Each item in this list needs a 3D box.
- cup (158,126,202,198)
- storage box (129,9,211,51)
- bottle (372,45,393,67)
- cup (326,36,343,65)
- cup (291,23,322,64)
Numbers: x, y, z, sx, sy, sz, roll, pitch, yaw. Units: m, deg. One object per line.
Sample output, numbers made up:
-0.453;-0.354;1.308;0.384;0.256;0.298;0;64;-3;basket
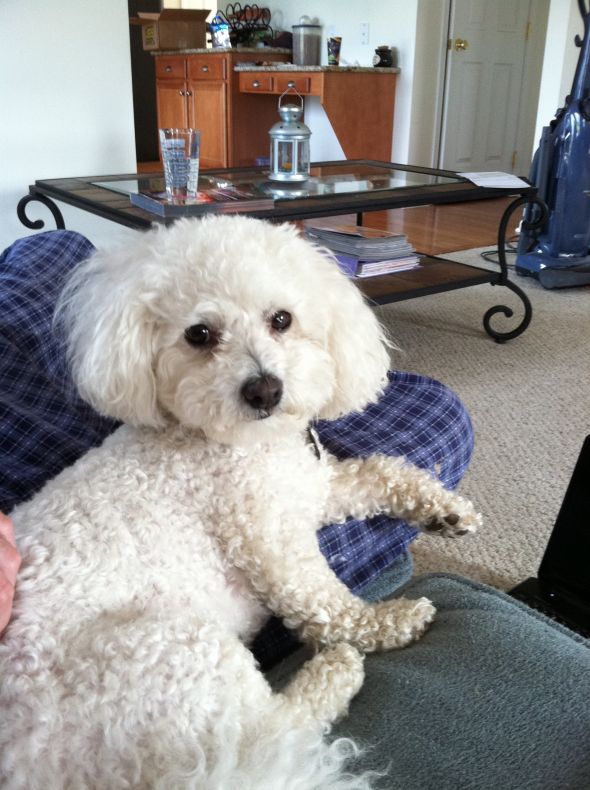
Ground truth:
-0.342;-0.688;2.012;0.111;0.184;0.374;-2;24;-9;cup
-1.130;-3.245;5.989;0.699;0.354;0.491;7;25;11;storage box
0.680;-2.588;5.170;0.180;0.147;0.165;0;24;2;bottle
0.319;-2.768;5.421;0.123;0.213;0.328;3;24;1;cup
0.112;-2.877;5.552;0.359;0.329;0.331;0;30;0;cup
